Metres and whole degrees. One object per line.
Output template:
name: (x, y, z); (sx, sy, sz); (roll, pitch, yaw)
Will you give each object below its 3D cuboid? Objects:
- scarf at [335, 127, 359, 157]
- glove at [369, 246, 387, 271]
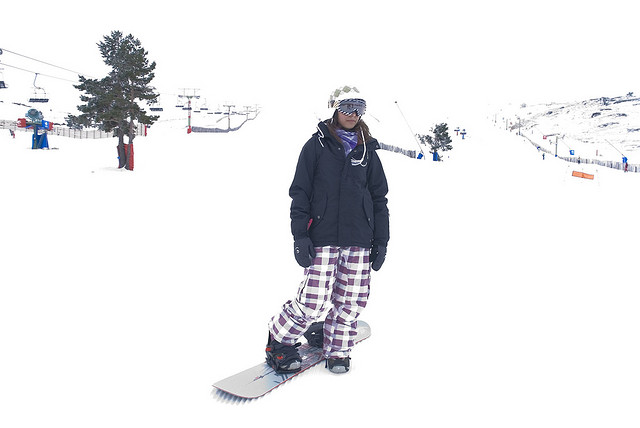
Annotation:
scarf: (0.811, -2.214, 17.971); (0.722, 0.843, 0.235); (4, 4, 0)
glove: (1.762, 1.312, 18.019); (0.442, 0.775, 0.201); (10, 2, -2)
